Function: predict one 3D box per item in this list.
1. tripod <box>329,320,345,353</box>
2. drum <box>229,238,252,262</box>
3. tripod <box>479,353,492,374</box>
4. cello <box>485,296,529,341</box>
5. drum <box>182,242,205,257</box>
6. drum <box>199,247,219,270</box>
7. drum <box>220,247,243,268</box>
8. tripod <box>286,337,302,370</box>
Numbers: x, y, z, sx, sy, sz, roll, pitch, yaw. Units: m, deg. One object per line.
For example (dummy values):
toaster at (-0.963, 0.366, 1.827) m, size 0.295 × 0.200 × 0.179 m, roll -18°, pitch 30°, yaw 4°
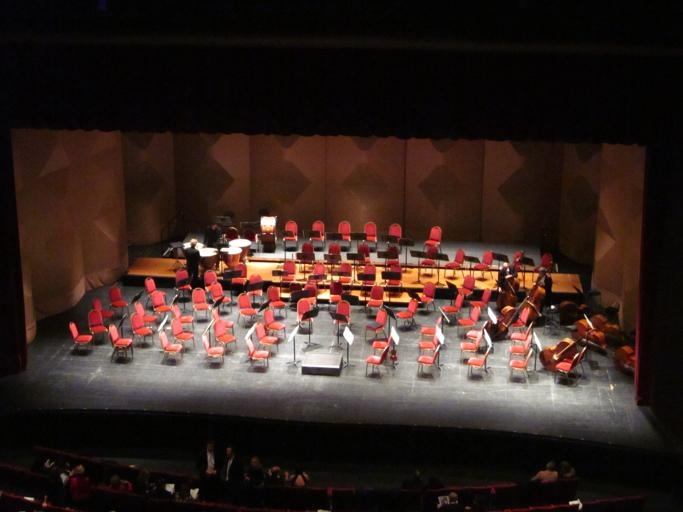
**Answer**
tripod at (-0.094, 1.998, 13.369) m, size 0.542 × 0.818 × 0.534 m, roll 0°, pitch 1°, yaw -4°
drum at (-3.162, -0.226, 16.741) m, size 0.632 × 0.686 × 0.646 m, roll 9°, pitch 21°, yaw 19°
tripod at (3.222, 2.430, 12.207) m, size 0.339 × 0.484 × 0.342 m, roll 0°, pitch 1°, yaw -15°
cello at (4.026, 1.555, 13.235) m, size 0.939 × 0.416 × 0.230 m, roll -37°, pitch 36°, yaw -17°
drum at (-4.241, -0.195, 15.402) m, size 0.509 × 0.512 × 0.541 m, roll 5°, pitch 7°, yaw 9°
drum at (-3.920, 0.090, 15.906) m, size 0.515 × 0.478 × 0.605 m, roll 1°, pitch -1°, yaw 6°
drum at (-3.305, 0.054, 16.142) m, size 0.553 × 0.505 × 0.610 m, roll 0°, pitch -1°, yaw 7°
tripod at (-1.102, 2.275, 12.557) m, size 0.298 × 0.724 × 0.919 m, roll 2°, pitch -16°, yaw -5°
